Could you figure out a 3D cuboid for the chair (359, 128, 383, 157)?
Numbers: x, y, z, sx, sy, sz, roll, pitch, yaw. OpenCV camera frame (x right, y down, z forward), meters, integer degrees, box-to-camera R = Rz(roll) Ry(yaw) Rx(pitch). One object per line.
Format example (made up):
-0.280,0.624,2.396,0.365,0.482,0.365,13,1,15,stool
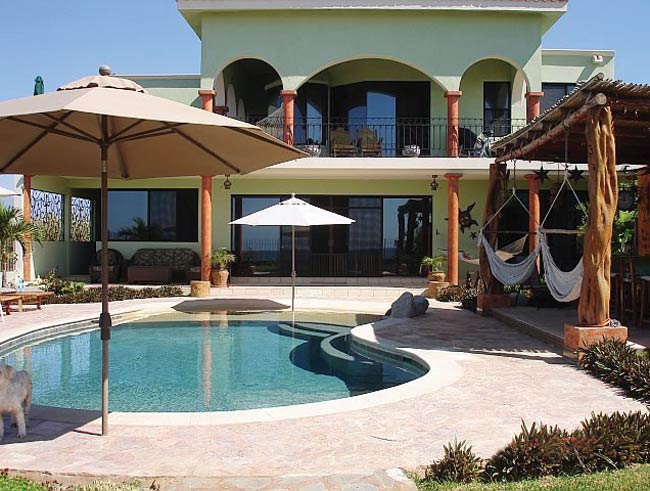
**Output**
1.250,-2.905,20.675,0.737,1.184,0.773,0,0,-4,chair

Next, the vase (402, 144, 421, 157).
2.449,-2.639,20.169,0.461,0.351,0.382,-1,5,1,vase

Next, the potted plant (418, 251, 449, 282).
3.090,0.636,19.716,0.855,0.693,0.924,1,-2,-6,potted plant

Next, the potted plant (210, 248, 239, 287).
-2.957,0.646,20.516,0.946,1.157,0.915,1,-5,-11,potted plant

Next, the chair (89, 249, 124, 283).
-6.788,0.668,22.084,0.765,1.143,1.072,-1,-6,-7,chair
